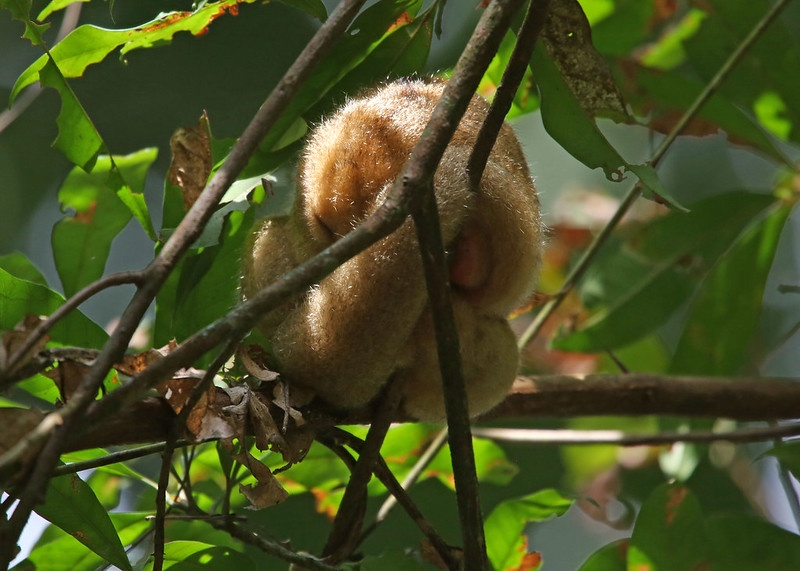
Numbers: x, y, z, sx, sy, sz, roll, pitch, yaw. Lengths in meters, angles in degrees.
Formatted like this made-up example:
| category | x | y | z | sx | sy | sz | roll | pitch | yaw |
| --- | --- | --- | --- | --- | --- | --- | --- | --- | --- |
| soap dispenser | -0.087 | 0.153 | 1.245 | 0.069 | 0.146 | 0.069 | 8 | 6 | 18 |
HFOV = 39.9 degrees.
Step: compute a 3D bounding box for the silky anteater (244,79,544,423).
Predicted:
| category | x | y | z | sx | sy | sz | roll | pitch | yaw |
| --- | --- | --- | --- | --- | --- | --- | --- | --- | --- |
| silky anteater | 0.006 | -0.015 | 1.586 | 0.358 | 0.546 | 0.297 | 11 | -35 | -5 |
